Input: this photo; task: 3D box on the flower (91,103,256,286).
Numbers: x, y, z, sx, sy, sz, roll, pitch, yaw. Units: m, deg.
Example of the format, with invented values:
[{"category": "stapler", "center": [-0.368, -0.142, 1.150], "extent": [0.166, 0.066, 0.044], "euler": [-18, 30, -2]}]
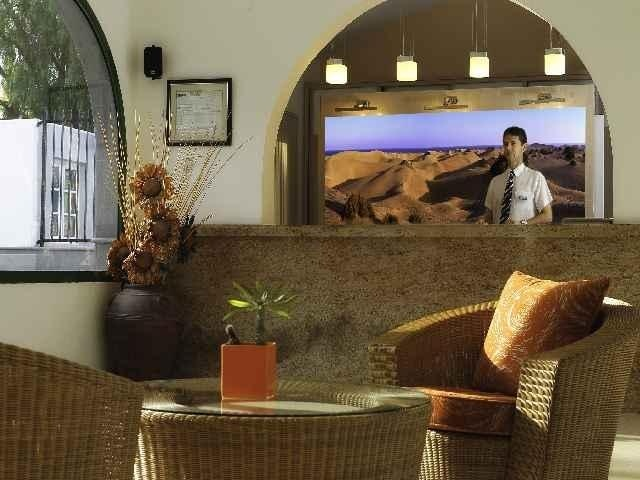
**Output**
[{"category": "flower", "center": [-1.073, -0.308, 4.634], "extent": [0.940, 1.197, 0.720], "euler": [1, 2, 3]}]

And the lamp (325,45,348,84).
[{"category": "lamp", "center": [0.167, -1.893, 7.367], "extent": [0.199, 0.334, 0.191], "euler": [-17, 26, -36]}]

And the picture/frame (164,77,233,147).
[{"category": "picture/frame", "center": [-0.847, -0.918, 4.835], "extent": [0.483, 0.502, 0.038], "euler": [0, -1, 2]}]

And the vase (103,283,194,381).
[{"category": "vase", "center": [-1.094, 0.570, 4.266], "extent": [0.538, 0.588, 0.529], "euler": [3, -2, -8]}]

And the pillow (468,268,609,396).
[{"category": "pillow", "center": [0.938, 0.455, 2.977], "extent": [0.333, 0.559, 0.565], "euler": [0, 2, -24]}]

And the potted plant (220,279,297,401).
[{"category": "potted plant", "center": [-0.221, 0.370, 2.486], "extent": [0.299, 0.437, 0.276], "euler": [-2, -6, 34]}]
